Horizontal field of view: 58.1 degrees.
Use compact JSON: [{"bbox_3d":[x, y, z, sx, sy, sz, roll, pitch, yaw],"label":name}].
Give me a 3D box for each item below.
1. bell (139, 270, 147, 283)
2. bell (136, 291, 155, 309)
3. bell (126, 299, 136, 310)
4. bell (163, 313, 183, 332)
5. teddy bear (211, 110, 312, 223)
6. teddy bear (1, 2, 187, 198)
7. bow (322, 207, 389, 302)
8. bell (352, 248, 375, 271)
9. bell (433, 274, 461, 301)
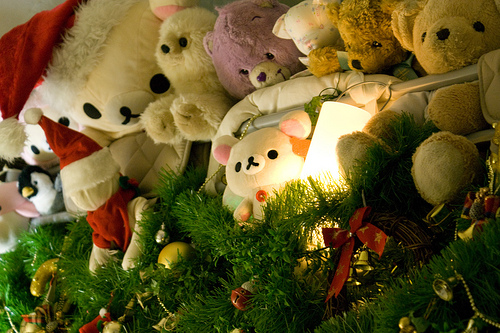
[{"bbox_3d":[-0.311,0.316,1.310,0.014,0.025,0.049,-19,-12,-27],"label":"bell"},{"bbox_3d":[-0.298,0.378,1.299,0.048,0.034,0.046,-23,-10,-9],"label":"bell"},{"bbox_3d":[-0.350,0.411,1.336,0.029,0.028,0.026,-60,7,-12],"label":"bell"},{"bbox_3d":[-0.204,0.419,1.200,0.046,0.032,0.092,-21,-11,-21],"label":"bell"},{"bbox_3d":[0.038,-0.013,1.231,0.222,0.289,0.339,-15,19,15],"label":"teddy bear"},{"bbox_3d":[-0.509,-0.239,1.533,0.535,0.537,0.332,-29,13,-1],"label":"teddy bear"},{"bbox_3d":[0.216,0.189,0.988,0.177,0.180,0.077,-25,-10,1],"label":"bow"},{"bbox_3d":[0.280,0.231,1.102,0.057,0.063,0.059,13,-30,5],"label":"bell"},{"bbox_3d":[0.362,0.223,0.835,0.047,0.036,0.037,-29,-50,-39],"label":"bell"}]
